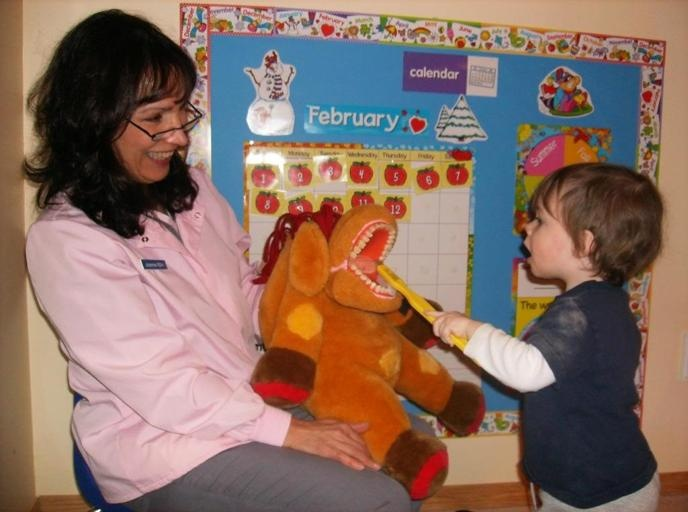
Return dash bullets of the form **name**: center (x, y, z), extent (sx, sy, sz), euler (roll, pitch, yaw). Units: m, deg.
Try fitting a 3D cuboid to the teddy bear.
- **teddy bear**: center (0.036, 0.212, 1.862), extent (0.660, 0.749, 0.593), euler (7, 19, 31)
